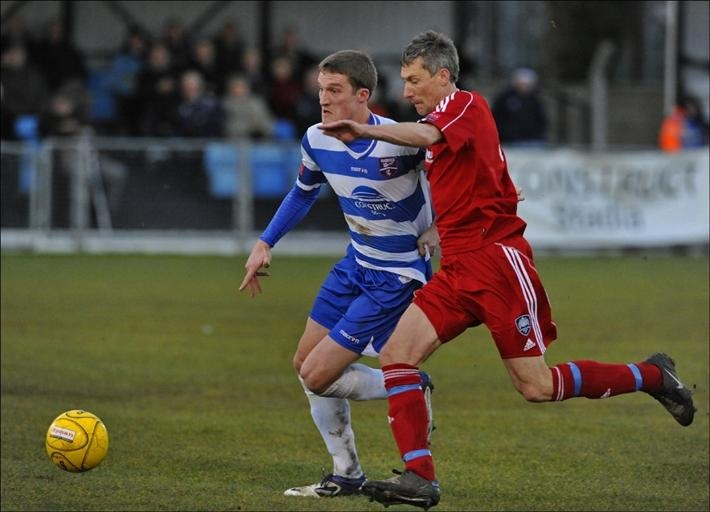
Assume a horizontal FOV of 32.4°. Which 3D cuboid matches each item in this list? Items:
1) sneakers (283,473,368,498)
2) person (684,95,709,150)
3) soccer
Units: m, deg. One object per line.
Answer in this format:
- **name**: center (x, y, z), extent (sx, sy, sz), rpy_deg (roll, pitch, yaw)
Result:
- **sneakers**: center (-0.207, 1.836, 9.949), extent (0.646, 0.211, 0.247), rpy_deg (1, -10, -1)
- **person**: center (5.118, -1.979, 18.251), extent (0.549, 0.718, 0.323), rpy_deg (-1, 8, -14)
- **soccer**: center (-2.355, 1.517, 10.160), extent (0.546, 0.531, 0.549), rpy_deg (6, 9, 4)
